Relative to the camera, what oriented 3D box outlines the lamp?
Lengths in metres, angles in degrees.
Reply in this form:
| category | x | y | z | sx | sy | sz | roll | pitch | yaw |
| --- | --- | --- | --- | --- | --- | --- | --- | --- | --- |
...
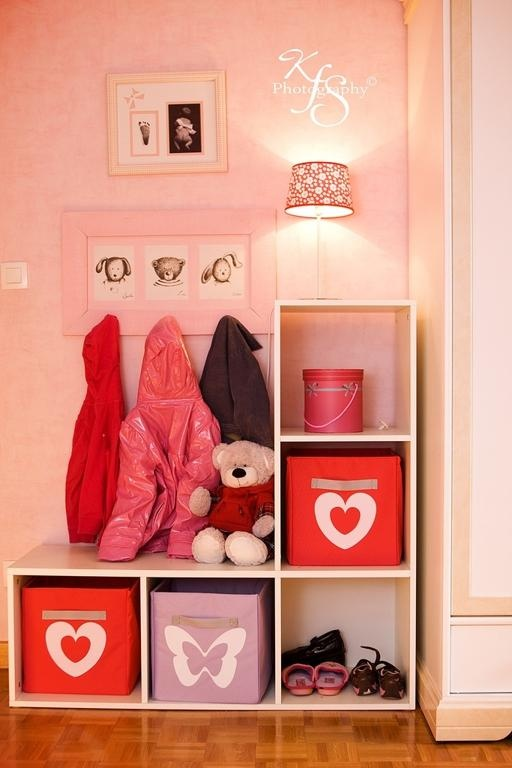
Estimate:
| category | x | y | z | sx | sy | sz | roll | pitch | yaw |
| --- | --- | --- | --- | --- | --- | --- | --- | --- | --- |
| lamp | 0.184 | -0.445 | 2.195 | 0.206 | 0.456 | 0.207 | -2 | 4 | -5 |

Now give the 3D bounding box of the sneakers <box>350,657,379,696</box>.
| category | x | y | z | sx | sy | sz | roll | pitch | yaw |
| --- | --- | --- | --- | --- | --- | --- | --- | --- | --- |
| sneakers | 0.327 | 0.903 | 2.133 | 0.082 | 0.075 | 0.141 | 1 | 8 | 9 |

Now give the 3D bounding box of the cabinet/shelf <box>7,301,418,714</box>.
| category | x | y | z | sx | sy | sz | roll | pitch | yaw |
| --- | --- | --- | --- | --- | --- | --- | --- | --- | --- |
| cabinet/shelf | -0.080 | 0.402 | 2.162 | 1.211 | 1.208 | 0.363 | 0 | -1 | 3 |

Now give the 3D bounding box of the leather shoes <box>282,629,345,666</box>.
| category | x | y | z | sx | sy | sz | roll | pitch | yaw |
| --- | --- | --- | --- | --- | --- | --- | --- | --- | --- |
| leather shoes | 0.202 | 0.869 | 2.294 | 0.259 | 0.109 | 0.087 | 10 | -18 | -36 |

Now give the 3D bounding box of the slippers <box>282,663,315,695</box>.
| category | x | y | z | sx | sy | sz | roll | pitch | yaw |
| --- | --- | --- | --- | --- | --- | --- | --- | --- | --- |
| slippers | 0.129 | 0.907 | 2.123 | 0.065 | 0.042 | 0.115 | 0 | -4 | 1 |

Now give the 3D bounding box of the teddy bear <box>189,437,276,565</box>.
| category | x | y | z | sx | sy | sz | roll | pitch | yaw |
| --- | --- | --- | --- | --- | --- | --- | --- | --- | --- |
| teddy bear | -0.072 | 0.363 | 2.132 | 0.264 | 0.350 | 0.230 | 1 | 8 | 9 |

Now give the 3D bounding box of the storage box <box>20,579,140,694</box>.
| category | x | y | z | sx | sy | sz | roll | pitch | yaw |
| --- | --- | --- | --- | --- | --- | --- | --- | --- | --- |
| storage box | -0.531 | 0.766 | 2.214 | 0.325 | 0.315 | 0.329 | 0 | -8 | 0 |

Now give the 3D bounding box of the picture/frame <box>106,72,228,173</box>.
| category | x | y | z | sx | sy | sz | roll | pitch | yaw |
| --- | --- | --- | --- | --- | --- | --- | --- | --- | --- |
| picture/frame | -0.286 | -0.889 | 2.348 | 0.333 | 0.284 | 0.030 | -1 | 1 | 2 |

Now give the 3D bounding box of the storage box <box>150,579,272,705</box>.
| category | x | y | z | sx | sy | sz | roll | pitch | yaw |
| --- | --- | --- | --- | --- | --- | --- | --- | --- | --- |
| storage box | -0.134 | 0.755 | 2.186 | 0.341 | 0.335 | 0.331 | 0 | -1 | 4 |

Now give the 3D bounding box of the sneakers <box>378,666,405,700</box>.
| category | x | y | z | sx | sy | sz | roll | pitch | yaw |
| --- | --- | --- | --- | --- | --- | --- | --- | --- | --- |
| sneakers | 0.412 | 0.904 | 2.095 | 0.041 | 0.046 | 0.117 | 0 | -5 | 2 |

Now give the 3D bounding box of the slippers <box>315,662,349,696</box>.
| category | x | y | z | sx | sy | sz | roll | pitch | yaw |
| --- | --- | --- | --- | --- | --- | --- | --- | --- | --- |
| slippers | 0.231 | 0.912 | 2.154 | 0.102 | 0.053 | 0.164 | 0 | 8 | 8 |

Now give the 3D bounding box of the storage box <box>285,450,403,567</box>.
| category | x | y | z | sx | sy | sz | roll | pitch | yaw |
| --- | --- | --- | --- | --- | --- | --- | --- | --- | --- |
| storage box | 0.265 | 0.369 | 2.172 | 0.329 | 0.323 | 0.296 | -2 | -2 | 4 |
